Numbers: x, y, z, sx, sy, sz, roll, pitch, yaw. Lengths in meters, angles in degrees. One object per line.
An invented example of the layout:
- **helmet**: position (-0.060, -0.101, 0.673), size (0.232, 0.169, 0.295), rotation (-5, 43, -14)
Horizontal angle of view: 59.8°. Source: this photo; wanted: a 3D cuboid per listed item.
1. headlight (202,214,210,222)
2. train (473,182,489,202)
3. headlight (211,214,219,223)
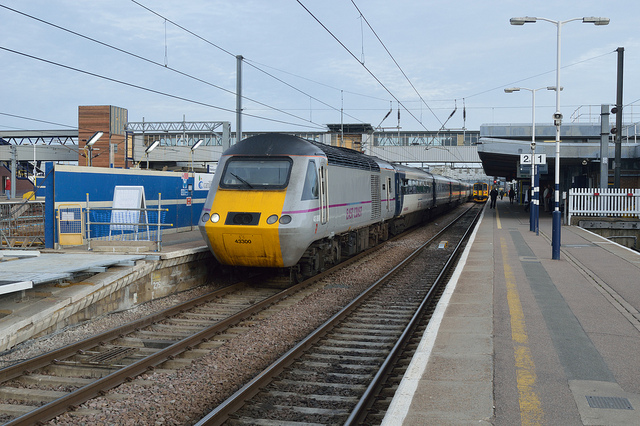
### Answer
- **headlight**: position (-3.014, 0.125, 14.598), size (0.241, 0.179, 0.088), rotation (2, 5, 30)
- **train**: position (22.010, -2.860, 75.691), size (1.421, 2.596, 2.312), rotation (3, 6, 41)
- **headlight**: position (-2.740, 0.132, 14.460), size (0.233, 0.190, 0.080), rotation (1, 5, 21)
